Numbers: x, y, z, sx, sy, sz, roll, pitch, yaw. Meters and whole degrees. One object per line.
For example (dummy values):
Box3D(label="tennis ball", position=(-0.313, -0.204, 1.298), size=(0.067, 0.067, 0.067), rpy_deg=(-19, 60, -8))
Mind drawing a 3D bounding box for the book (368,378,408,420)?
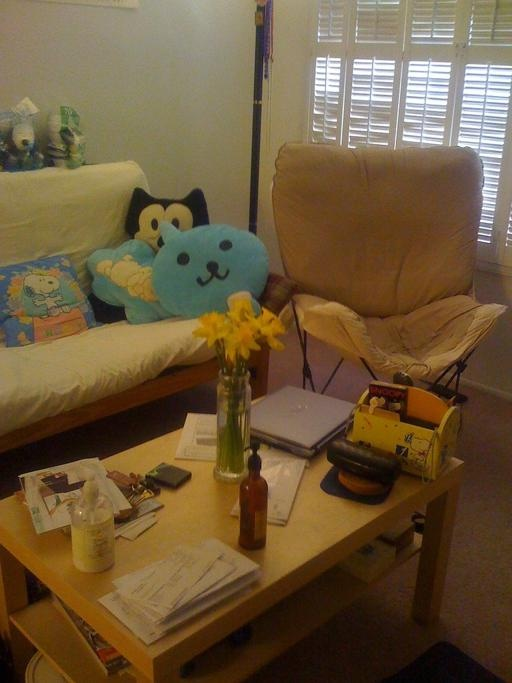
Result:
Box3D(label="book", position=(0.310, 0.137, 1.258), size=(0.079, 0.076, 0.031), rpy_deg=(9, 14, 26))

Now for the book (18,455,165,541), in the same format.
Box3D(label="book", position=(-0.352, 0.297, 1.085), size=(0.192, 0.049, 0.197), rpy_deg=(-5, 23, -28))

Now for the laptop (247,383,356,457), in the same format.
Box3D(label="laptop", position=(0.105, 0.203, 1.389), size=(0.163, 0.036, 0.176), rpy_deg=(16, 21, 38))

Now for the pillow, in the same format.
Box3D(label="pillow", position=(-0.366, -0.267, 2.327), size=(0.760, 0.373, 0.621), rpy_deg=(2, 38, -7))
